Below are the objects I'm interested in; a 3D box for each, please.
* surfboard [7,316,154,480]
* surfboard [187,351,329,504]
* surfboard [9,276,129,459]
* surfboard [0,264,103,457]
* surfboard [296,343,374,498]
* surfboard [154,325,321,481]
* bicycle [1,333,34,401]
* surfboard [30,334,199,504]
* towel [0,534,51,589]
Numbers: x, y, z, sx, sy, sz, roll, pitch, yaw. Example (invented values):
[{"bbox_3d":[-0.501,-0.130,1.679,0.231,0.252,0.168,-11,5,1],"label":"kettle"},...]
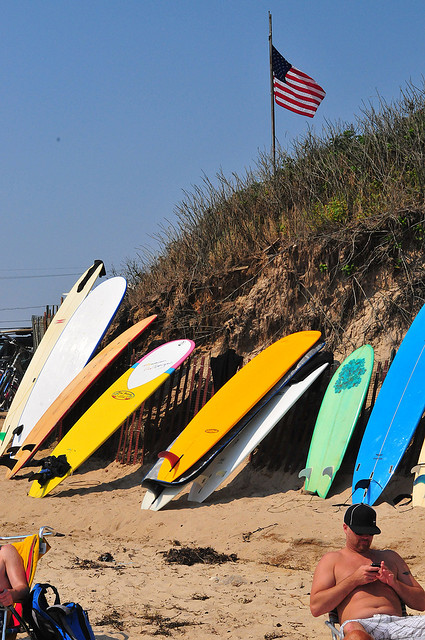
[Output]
[{"bbox_3d":[-1.579,1.025,10.452,0.243,2.527,0.415,55,-27,-18],"label":"surfboard"},{"bbox_3d":[0.507,1.137,8.498,0.182,1.739,0.285,46,-16,-15],"label":"surfboard"},{"bbox_3d":[-1.744,0.746,10.799,0.450,2.929,0.700,43,-44,-14],"label":"surfboard"},{"bbox_3d":[-2.017,0.776,11.070,0.331,2.968,0.396,38,-23,-18],"label":"surfboard"},{"bbox_3d":[1.270,0.878,8.139,0.261,1.733,0.527,42,-39,-17],"label":"surfboard"},{"bbox_3d":[0.289,0.946,8.807,0.505,2.635,0.333,-9,-73,45],"label":"surfboard"},{"bbox_3d":[-3.529,0.791,14.791,0.447,1.115,0.552,20,-29,-4],"label":"bicycle"},{"bbox_3d":[-1.123,1.068,9.605,0.537,2.759,0.344,17,-46,35],"label":"surfboard"},{"bbox_3d":[-1.128,1.482,5.126,0.253,0.316,0.119,-11,-23,41],"label":"towel"}]
